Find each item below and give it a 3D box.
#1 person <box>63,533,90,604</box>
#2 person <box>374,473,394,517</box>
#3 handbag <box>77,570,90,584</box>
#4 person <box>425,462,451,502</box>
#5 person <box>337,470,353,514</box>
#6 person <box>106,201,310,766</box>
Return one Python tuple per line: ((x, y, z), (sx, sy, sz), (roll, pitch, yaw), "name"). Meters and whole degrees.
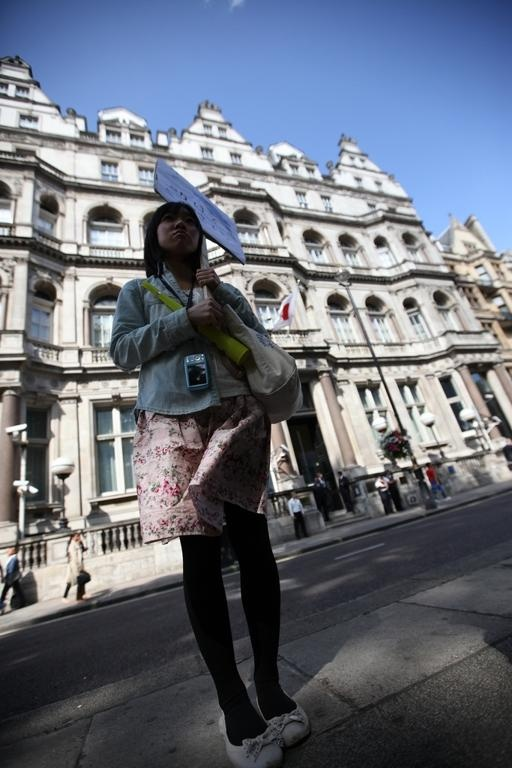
((-3.694, 3.642, 9.288), (0.489, 1.282, 1.660), (-6, -19, -24), "person")
((4.315, 3.643, 15.379), (0.444, 1.253, 0.731), (-18, -18, 10), "person")
((-3.269, 3.595, 8.658), (0.215, 0.234, 0.259), (-6, -19, -24), "handbag")
((6.490, 3.413, 16.539), (0.480, 1.309, 2.065), (-20, -18, 17), "person")
((3.152, 3.721, 15.801), (0.412, 1.263, 0.506), (-17, -18, 7), "person")
((-0.224, 0.090, 1.874), (0.647, 2.251, 0.565), (-7, -20, -22), "person")
